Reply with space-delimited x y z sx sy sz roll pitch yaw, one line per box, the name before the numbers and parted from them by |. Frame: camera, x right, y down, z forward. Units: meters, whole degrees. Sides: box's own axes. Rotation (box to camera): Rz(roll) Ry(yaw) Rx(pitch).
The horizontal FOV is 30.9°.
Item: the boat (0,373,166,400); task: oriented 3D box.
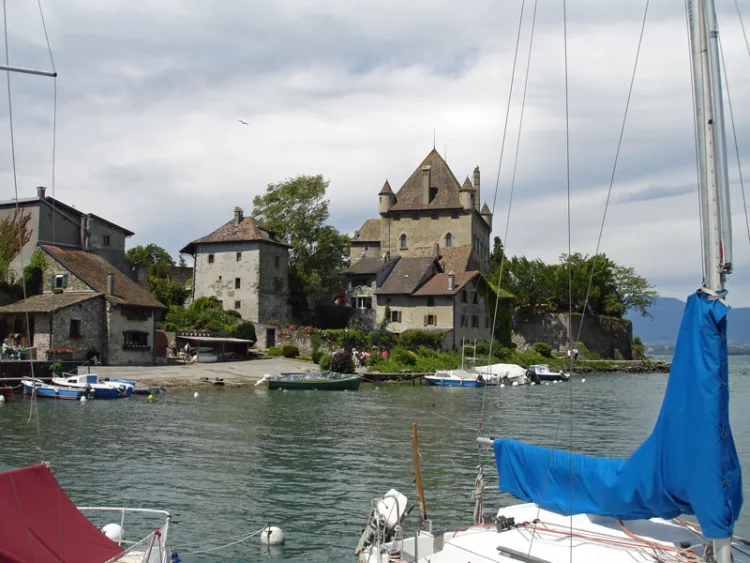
boat | -18.874 6.921 88.783 8.565 1.759 3.689 -1 -7 -14
